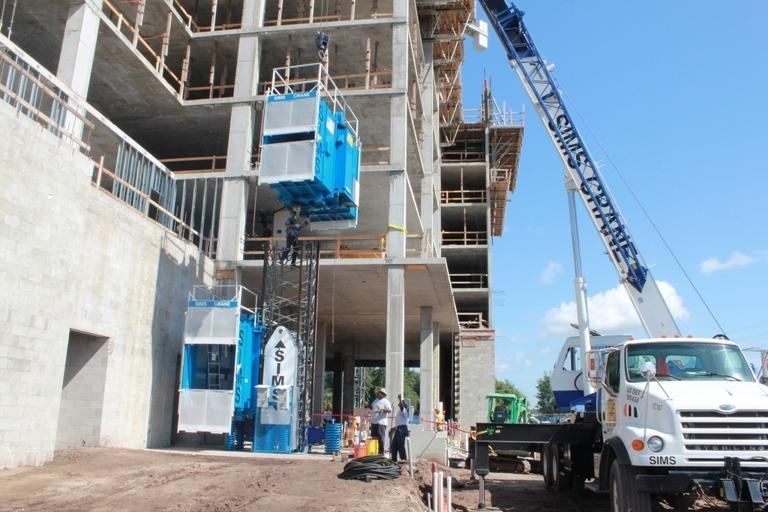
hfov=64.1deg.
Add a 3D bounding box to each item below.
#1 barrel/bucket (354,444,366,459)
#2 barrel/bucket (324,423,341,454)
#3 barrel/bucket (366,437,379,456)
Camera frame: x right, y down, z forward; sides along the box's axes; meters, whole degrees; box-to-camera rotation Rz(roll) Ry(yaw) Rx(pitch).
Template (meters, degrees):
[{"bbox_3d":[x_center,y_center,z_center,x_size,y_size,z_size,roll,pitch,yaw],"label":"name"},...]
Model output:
[{"bbox_3d":[-0.820,6.826,21.569,0.523,0.488,0.524,-1,-17,0],"label":"barrel/bucket"},{"bbox_3d":[-2.057,7.233,24.509,0.596,1.142,0.610,-2,-20,-1],"label":"barrel/bucket"},{"bbox_3d":[-0.406,6.347,20.517,0.503,0.563,0.502,0,-9,0],"label":"barrel/bucket"}]
